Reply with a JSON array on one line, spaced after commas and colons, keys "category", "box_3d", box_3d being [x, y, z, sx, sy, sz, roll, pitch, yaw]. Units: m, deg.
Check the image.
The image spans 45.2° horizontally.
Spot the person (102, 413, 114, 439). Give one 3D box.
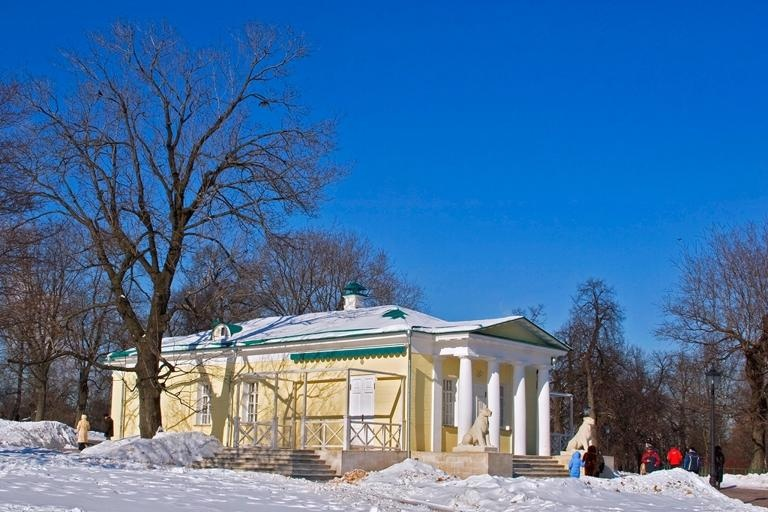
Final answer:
[{"category": "person", "box_3d": [-14.234, 8.905, 47.832, 0.360, 1.308, 3.110, 4, -14, -15]}]

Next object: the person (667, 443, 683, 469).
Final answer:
[{"category": "person", "box_3d": [13.028, 9.014, 41.358, 0.494, 0.986, 2.325, -2, -14, 14]}]

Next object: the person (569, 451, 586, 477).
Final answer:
[{"category": "person", "box_3d": [7.983, 8.573, 38.169, 0.547, 1.129, 2.737, -2, -14, 12]}]
